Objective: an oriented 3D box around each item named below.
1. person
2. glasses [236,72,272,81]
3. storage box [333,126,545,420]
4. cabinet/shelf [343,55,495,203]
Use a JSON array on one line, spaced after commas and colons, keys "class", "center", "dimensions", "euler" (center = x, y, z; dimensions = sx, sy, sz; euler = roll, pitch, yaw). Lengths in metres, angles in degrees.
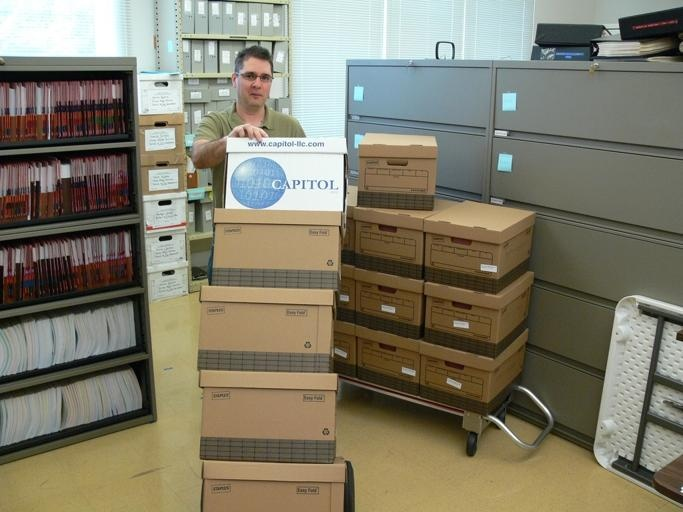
[{"class": "person", "center": [-0.489, -0.322, 2.802], "dimensions": [0.606, 1.503, 0.690], "euler": [-7, 15, -37]}, {"class": "glasses", "center": [-0.460, -0.944, 2.720], "dimensions": [0.173, 0.052, 0.067], "euler": [-7, 19, -12]}, {"class": "storage box", "center": [0.539, 0.104, 2.737], "dimensions": [1.321, 1.378, 0.494], "euler": [10, 17, 29]}, {"class": "cabinet/shelf", "center": [0.526, -0.843, 3.331], "dimensions": [0.963, 0.866, 0.351], "euler": [10, 31, 18]}]
